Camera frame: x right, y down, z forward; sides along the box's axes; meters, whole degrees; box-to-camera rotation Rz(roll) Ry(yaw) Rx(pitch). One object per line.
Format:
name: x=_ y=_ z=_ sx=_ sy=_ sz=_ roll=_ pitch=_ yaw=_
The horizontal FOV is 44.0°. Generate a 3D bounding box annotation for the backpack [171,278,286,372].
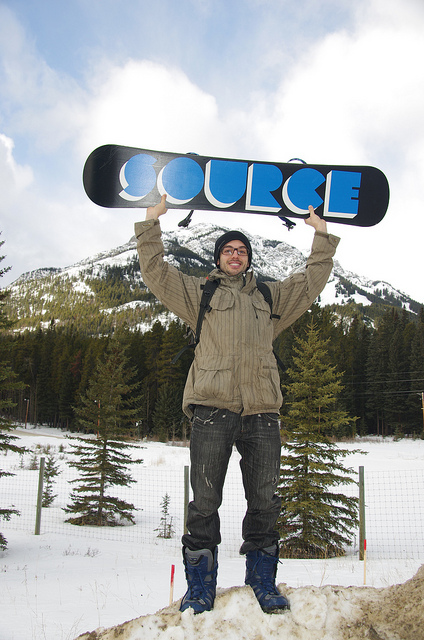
backpack: x=0.230 y=-0.101 z=3.611 sx=0.620 sy=0.621 sz=0.465 roll=15 pitch=1 yaw=22

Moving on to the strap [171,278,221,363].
strap: x=-0.036 y=-0.056 z=3.382 sx=0.154 sy=0.470 sz=0.208 roll=1 pitch=-7 yaw=8

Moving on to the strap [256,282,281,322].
strap: x=0.359 y=-0.102 z=3.631 sx=0.222 sy=0.239 sz=0.157 roll=10 pitch=-17 yaw=-27

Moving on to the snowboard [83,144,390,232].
snowboard: x=0.217 y=-1.170 z=4.646 sx=2.695 sy=0.633 sz=0.224 roll=3 pitch=-7 yaw=-5
